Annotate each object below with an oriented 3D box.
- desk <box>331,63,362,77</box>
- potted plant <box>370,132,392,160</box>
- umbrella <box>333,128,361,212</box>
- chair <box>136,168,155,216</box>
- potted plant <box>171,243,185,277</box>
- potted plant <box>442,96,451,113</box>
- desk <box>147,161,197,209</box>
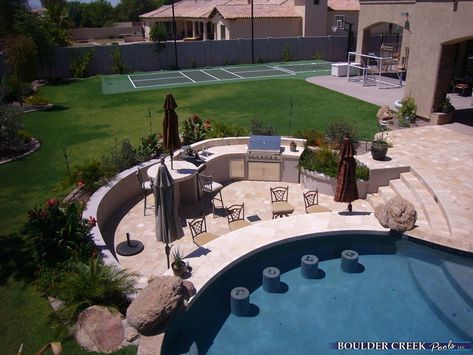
[{"bbox_3d":[11.187,-10.891,29.642,2.457,1.456,2.919,-9,28,-8],"label":"desk"},{"bbox_3d":[6.541,-1.399,13.352,0.710,1.237,0.763,-4,16,-8],"label":"potted plant"},{"bbox_3d":[4.082,-0.247,10.637,0.805,2.300,0.779,4,27,16],"label":"umbrella"},{"bbox_3d":[-3.811,0.630,12.116,0.783,2.024,0.900,0,35,-4],"label":"chair"},{"bbox_3d":[-1.685,2.464,8.204,0.345,0.837,0.409,-9,-16,15],"label":"potted plant"},{"bbox_3d":[12.773,-4.336,17.727,0.502,0.723,1.035,14,33,33],"label":"potted plant"},{"bbox_3d":[-2.526,0.397,12.491,1.839,1.508,1.976,14,36,18],"label":"desk"}]
